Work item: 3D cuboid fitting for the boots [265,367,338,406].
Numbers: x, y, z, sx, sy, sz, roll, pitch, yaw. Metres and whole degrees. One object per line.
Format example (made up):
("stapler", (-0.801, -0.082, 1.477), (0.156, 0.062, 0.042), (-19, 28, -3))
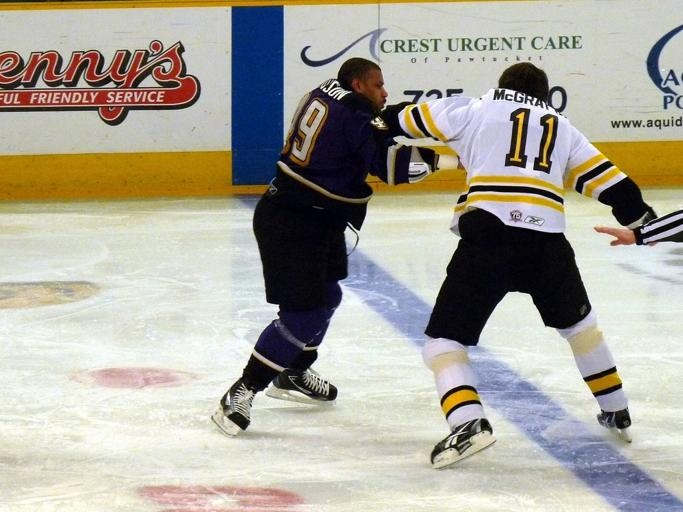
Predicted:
("boots", (-0.156, 0.635, 3.758), (0.415, 0.137, 0.132), (5, 7, 31))

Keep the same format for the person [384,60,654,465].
("person", (0.782, 0.019, 3.161), (0.950, 1.598, 0.849), (-1, 18, -18))

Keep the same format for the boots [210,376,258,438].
("boots", (-0.451, 0.692, 3.443), (0.109, 0.219, 0.324), (46, -1, -3))
